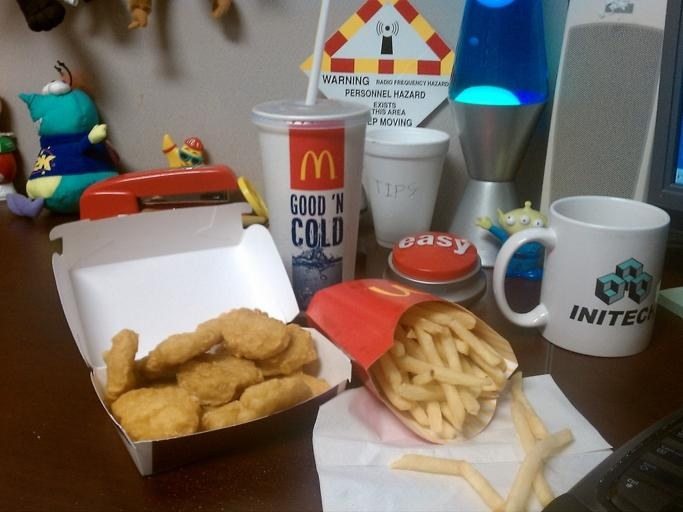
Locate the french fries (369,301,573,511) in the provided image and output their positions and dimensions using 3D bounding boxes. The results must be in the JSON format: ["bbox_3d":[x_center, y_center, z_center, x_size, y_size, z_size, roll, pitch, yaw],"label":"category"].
[{"bbox_3d":[0.129,0.143,0.559,0.208,0.076,0.200,18,39,30],"label":"french fries"}]

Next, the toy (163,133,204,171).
[{"bbox_3d":[-0.301,-0.200,1.035,0.064,0.081,0.026,22,14,-1],"label":"toy"}]

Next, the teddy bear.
[{"bbox_3d":[-0.555,-0.190,1.163,0.239,0.373,0.311,-4,7,-37],"label":"teddy bear"}]

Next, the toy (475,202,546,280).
[{"bbox_3d":[0.247,-0.017,0.801,0.102,0.112,0.048,0,11,7],"label":"toy"}]
